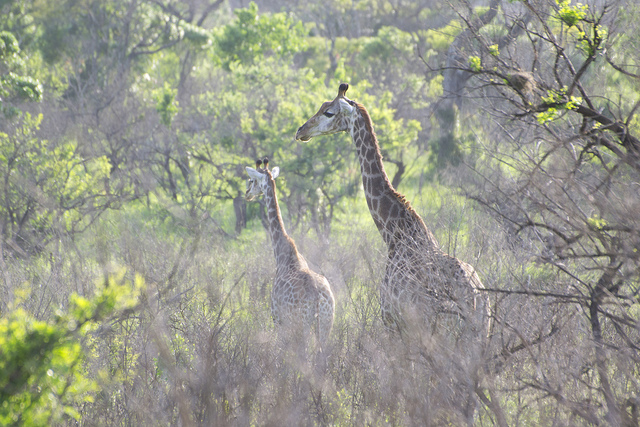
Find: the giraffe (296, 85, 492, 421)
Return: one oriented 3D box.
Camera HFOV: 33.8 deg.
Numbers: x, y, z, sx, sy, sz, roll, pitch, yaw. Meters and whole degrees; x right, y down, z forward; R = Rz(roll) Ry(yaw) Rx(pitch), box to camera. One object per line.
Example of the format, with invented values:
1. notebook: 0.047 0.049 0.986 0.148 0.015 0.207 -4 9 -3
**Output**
1. giraffe: 1.505 0.638 17.688 2.875 4.910 1.468 15 -41 -16
